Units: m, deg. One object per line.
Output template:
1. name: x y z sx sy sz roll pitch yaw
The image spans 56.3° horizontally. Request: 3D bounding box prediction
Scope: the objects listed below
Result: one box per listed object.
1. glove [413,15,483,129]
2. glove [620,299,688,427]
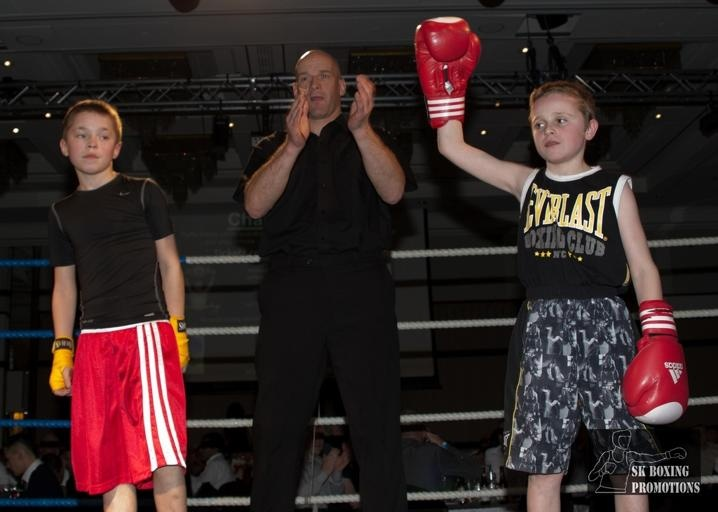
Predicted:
1. glove: 0.386 -0.811 3.048 0.341 0.460 0.186 -4 9 -7
2. glove: 1.195 0.420 2.707 0.233 0.396 0.145 -2 -3 -36
